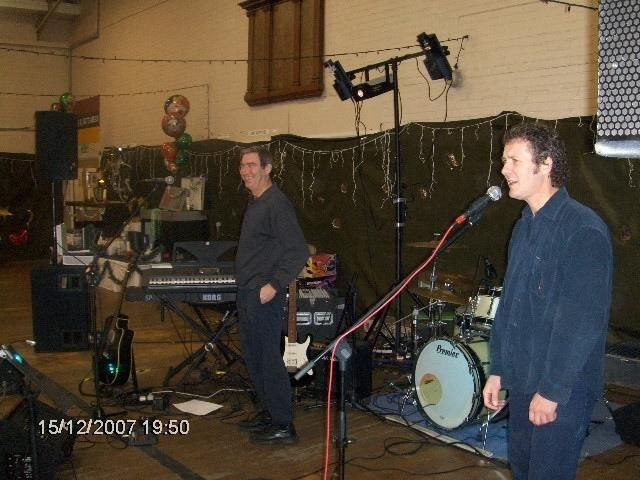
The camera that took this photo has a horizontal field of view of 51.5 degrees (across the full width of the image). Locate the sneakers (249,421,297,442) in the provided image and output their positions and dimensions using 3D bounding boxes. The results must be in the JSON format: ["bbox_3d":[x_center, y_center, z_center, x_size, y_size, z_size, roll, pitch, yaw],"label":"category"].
[{"bbox_3d":[-0.357,1.481,5.186,0.327,0.153,0.144,5,-9,-1],"label":"sneakers"}]

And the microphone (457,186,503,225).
[{"bbox_3d":[0.867,-0.184,3.664,0.121,0.112,0.402,31,48,31],"label":"microphone"}]

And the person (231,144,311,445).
[{"bbox_3d":[-0.371,0.406,5.100,0.369,2.277,0.544,-4,5,-38],"label":"person"}]

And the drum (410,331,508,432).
[{"bbox_3d":[1.101,1.126,5.374,0.650,0.729,0.505,9,8,43],"label":"drum"}]

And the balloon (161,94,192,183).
[{"bbox_3d":[-2.268,-1.684,10.733,0.523,1.448,0.524,0,11,-3],"label":"balloon"}]

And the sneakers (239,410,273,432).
[{"bbox_3d":[-0.507,1.470,5.359,0.279,0.124,0.121,5,-5,-14],"label":"sneakers"}]

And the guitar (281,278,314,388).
[{"bbox_3d":[-0.222,0.695,5.786,0.363,1.268,0.124,0,21,0],"label":"guitar"}]

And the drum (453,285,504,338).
[{"bbox_3d":[1.228,0.558,5.404,0.419,0.241,0.566,-2,6,6],"label":"drum"}]
